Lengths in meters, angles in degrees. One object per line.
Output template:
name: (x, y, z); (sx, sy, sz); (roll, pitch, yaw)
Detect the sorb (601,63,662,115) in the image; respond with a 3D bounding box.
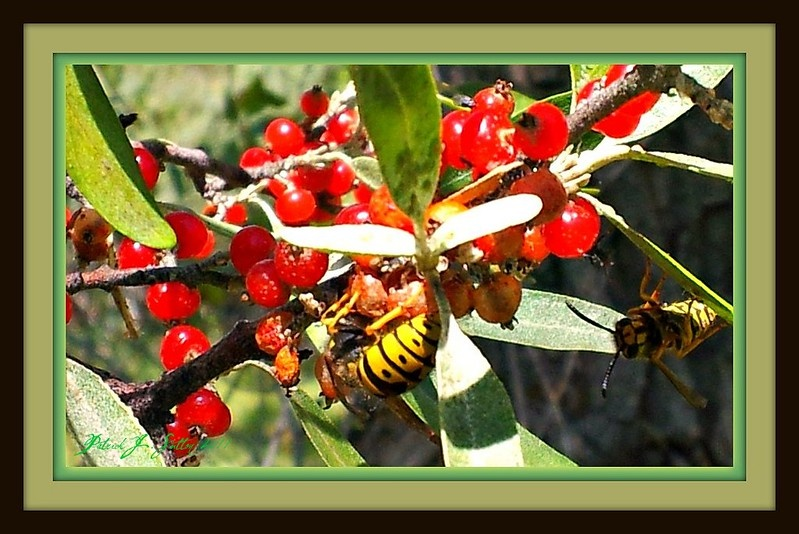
sorb: (0.494, -0.389, 2.128); (0.109, 0.116, 0.099); (-11, 10, 12)

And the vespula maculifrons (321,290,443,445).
vespula maculifrons: (-0.054, 0.188, 1.992); (0.230, 0.234, 0.076); (-33, 17, 36)

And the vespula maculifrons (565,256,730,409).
vespula maculifrons: (0.728, 0.181, 2.740); (0.449, 0.382, 0.202); (-13, -19, -42)
